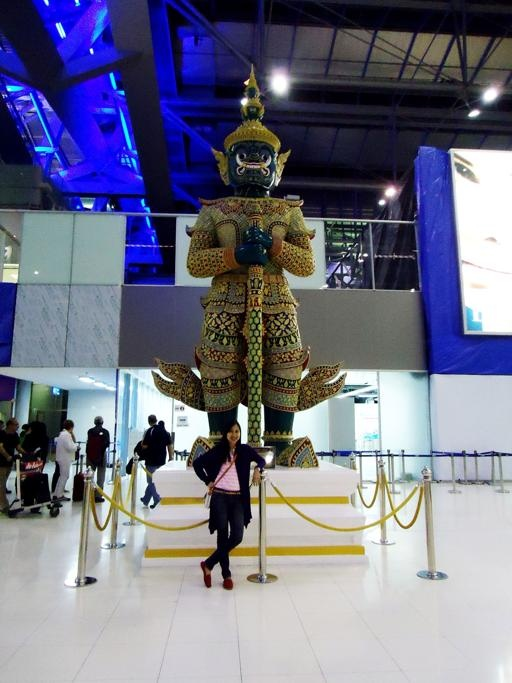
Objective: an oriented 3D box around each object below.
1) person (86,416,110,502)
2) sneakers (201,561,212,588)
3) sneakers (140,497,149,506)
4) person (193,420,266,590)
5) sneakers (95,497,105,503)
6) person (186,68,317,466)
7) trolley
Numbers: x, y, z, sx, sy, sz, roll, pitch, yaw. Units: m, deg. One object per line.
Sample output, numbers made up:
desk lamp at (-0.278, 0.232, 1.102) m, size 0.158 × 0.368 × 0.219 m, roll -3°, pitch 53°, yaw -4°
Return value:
person at (-2.469, 1.716, 7.818) m, size 0.311 × 1.065 × 0.615 m, roll 3°, pitch -12°, yaw -17°
sneakers at (-0.350, 1.585, 3.433) m, size 0.053 × 0.172 × 0.065 m, roll -4°, pitch 3°, yaw 10°
sneakers at (-1.559, 2.250, 7.086) m, size 0.098 × 0.139 × 0.453 m, roll 2°, pitch -11°, yaw -12°
person at (-0.207, 1.122, 3.553) m, size 0.452 × 1.096 × 0.319 m, roll 7°, pitch -13°, yaw -30°
sneakers at (-2.386, 2.395, 7.661) m, size 0.079 × 0.084 × 0.217 m, roll 0°, pitch -11°, yaw 2°
person at (-0.049, -0.824, 5.045) m, size 1.270 × 4.069 × 0.868 m, roll 2°, pitch -11°, yaw -8°
trolley at (-2.801, 1.827, 6.376) m, size 0.594 × 0.763 × 0.476 m, roll 9°, pitch -14°, yaw -38°
